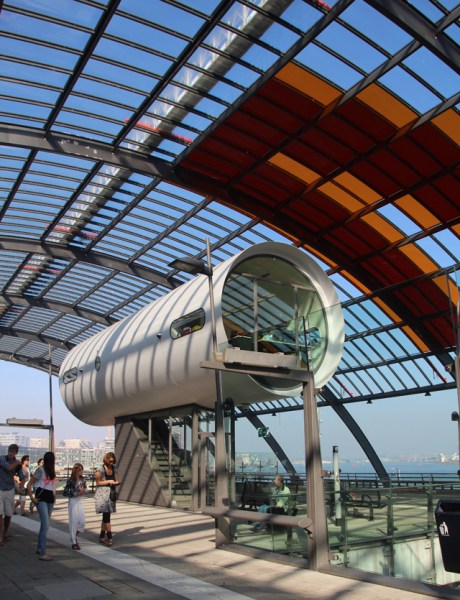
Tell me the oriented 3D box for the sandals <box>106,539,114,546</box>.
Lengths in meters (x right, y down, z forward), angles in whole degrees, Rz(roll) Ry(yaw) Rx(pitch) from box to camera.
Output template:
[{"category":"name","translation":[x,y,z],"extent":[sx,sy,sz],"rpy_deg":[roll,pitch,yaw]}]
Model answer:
[{"category":"sandals","translation":[-2.174,4.377,8.625],"extent":[0.084,0.079,0.218],"rpy_deg":[2,-9,-4]}]

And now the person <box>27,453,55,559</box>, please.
[{"category":"person","translation":[-2.979,3.197,7.474],"extent":[0.401,1.565,0.893],"rpy_deg":[6,-18,-20]}]

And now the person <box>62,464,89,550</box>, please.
[{"category":"person","translation":[-2.731,3.596,8.365],"extent":[0.383,1.467,1.902],"rpy_deg":[5,-17,-16]}]

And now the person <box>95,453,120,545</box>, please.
[{"category":"person","translation":[-2.274,3.629,8.707],"extent":[0.390,1.634,1.537],"rpy_deg":[4,-17,-13]}]

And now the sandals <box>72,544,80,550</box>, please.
[{"category":"sandals","translation":[-2.611,4.172,8.073],"extent":[0.076,0.088,0.236],"rpy_deg":[12,-25,-29]}]
